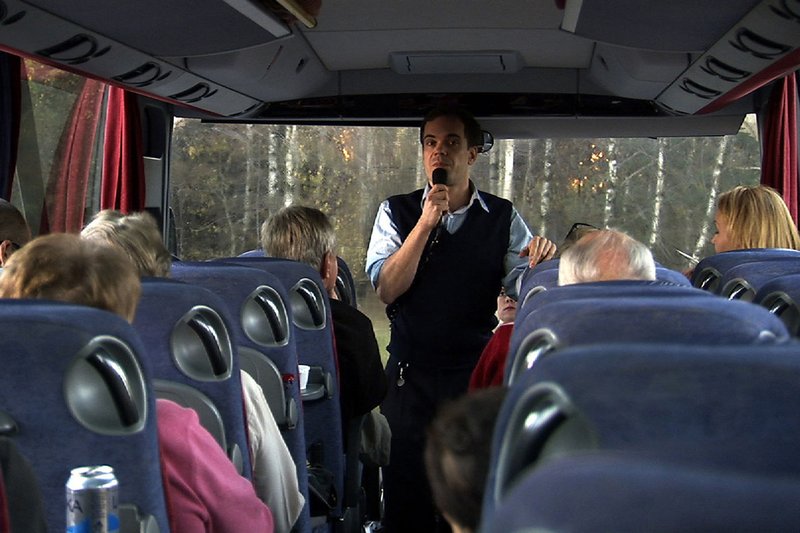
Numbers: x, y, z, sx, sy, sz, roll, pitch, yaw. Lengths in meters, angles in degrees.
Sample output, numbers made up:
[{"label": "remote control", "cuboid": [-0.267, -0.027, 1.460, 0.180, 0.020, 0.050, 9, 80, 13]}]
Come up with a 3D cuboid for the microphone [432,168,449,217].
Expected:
[{"label": "microphone", "cuboid": [0.186, -0.357, 3.105, 0.086, 0.205, 0.088, 2, -17, -3]}]

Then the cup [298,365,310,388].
[{"label": "cup", "cuboid": [-0.386, 0.449, 2.694, 0.072, 0.082, 0.070, -1, -11, 0]}]

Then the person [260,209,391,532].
[{"label": "person", "cuboid": [-0.403, 0.562, 3.096, 0.808, 1.666, 0.413, -3, 14, -4]}]
